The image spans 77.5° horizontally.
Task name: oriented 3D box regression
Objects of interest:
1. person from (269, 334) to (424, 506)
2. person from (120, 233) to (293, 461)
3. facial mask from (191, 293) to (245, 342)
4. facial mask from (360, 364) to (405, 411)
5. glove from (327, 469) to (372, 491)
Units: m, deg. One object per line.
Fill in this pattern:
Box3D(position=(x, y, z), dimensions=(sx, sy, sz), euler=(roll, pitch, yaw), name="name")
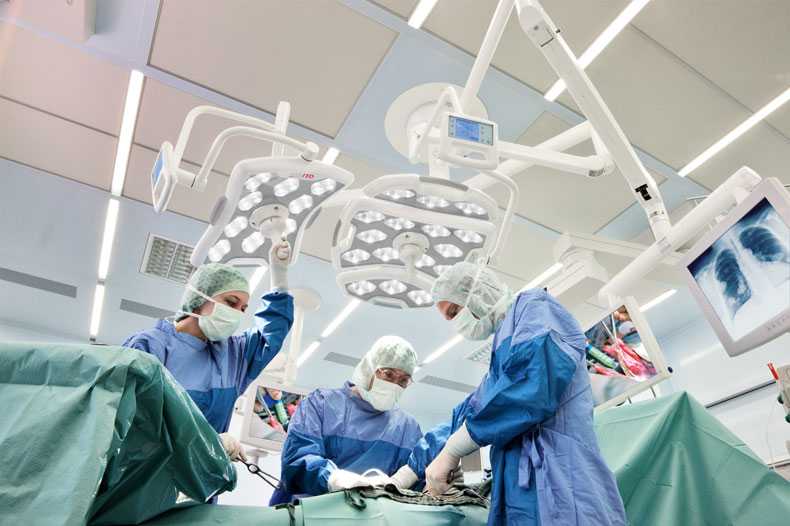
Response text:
Box3D(position=(-0.157, 0.920, 2.834), dimensions=(0.743, 1.031, 0.762), euler=(21, -40, -17), name="person")
Box3D(position=(-0.927, 0.542, 2.500), dimensions=(0.844, 1.257, 0.749), euler=(10, -15, -26), name="person")
Box3D(position=(-0.911, 0.303, 2.619), dimensions=(0.242, 0.181, 0.214), euler=(10, -14, 8), name="facial mask")
Box3D(position=(-0.086, 0.758, 2.956), dimensions=(0.195, 0.149, 0.241), euler=(26, -17, -22), name="facial mask")
Box3D(position=(-0.199, 0.925, 2.100), dimensions=(0.193, 0.070, 0.195), euler=(3, -2, -4), name="glove")
